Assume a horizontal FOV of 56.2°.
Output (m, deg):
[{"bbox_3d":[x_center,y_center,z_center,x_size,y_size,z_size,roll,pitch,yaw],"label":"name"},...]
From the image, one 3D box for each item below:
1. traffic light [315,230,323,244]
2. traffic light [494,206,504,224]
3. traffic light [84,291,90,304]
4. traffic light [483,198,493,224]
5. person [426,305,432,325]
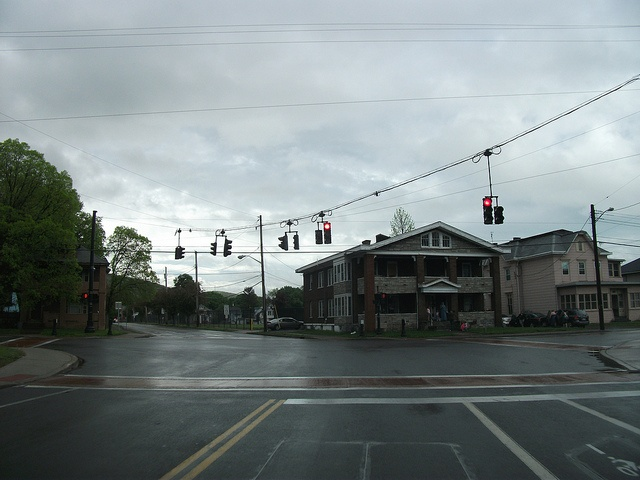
[{"bbox_3d":[-0.070,-0.111,26.983,0.241,0.626,0.601,1,-11,-7],"label":"traffic light"},{"bbox_3d":[6.732,-0.920,22.663,0.284,0.622,0.625,-2,-11,11],"label":"traffic light"},{"bbox_3d":[-15.691,3.866,40.384,0.529,0.679,1.962,5,-12,-24],"label":"traffic light"},{"bbox_3d":[6.307,-1.120,22.518,0.301,0.968,0.613,-2,-11,10],"label":"traffic light"},{"bbox_3d":[8.023,5.621,44.100,0.389,1.348,1.498,-2,-11,10],"label":"person"}]
